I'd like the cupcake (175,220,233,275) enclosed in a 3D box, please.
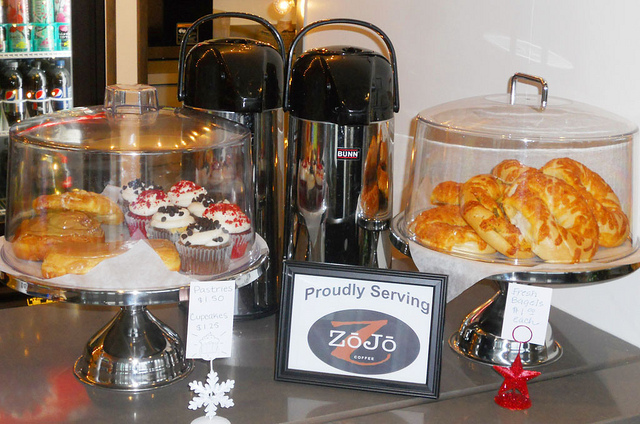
[{"bbox_3d":[-0.225,0.072,1.032,0.105,0.094,0.040,-4,15,-18],"label":"cupcake"}]

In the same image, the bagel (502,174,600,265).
[{"bbox_3d":[0.446,0.011,1.038,0.175,0.157,0.090,7,15,23],"label":"bagel"}]

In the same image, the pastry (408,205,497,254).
[{"bbox_3d":[0.288,0.036,1.132,0.205,0.061,0.201,6,22,19],"label":"pastry"}]

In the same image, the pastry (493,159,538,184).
[{"bbox_3d":[0.399,-0.089,1.122,0.056,0.031,0.072,-8,13,2],"label":"pastry"}]

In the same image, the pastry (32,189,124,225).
[{"bbox_3d":[-0.481,-0.011,1.059,0.171,0.053,0.155,-1,-13,-30],"label":"pastry"}]

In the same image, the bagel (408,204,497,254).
[{"bbox_3d":[0.264,0.028,1.097,0.137,0.099,0.128,-14,20,-29],"label":"bagel"}]

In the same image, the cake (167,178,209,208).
[{"bbox_3d":[-0.273,-0.040,1.073,0.059,0.034,0.059,4,9,8],"label":"cake"}]

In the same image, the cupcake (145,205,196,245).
[{"bbox_3d":[-0.291,0.021,1.040,0.079,0.066,0.070,-1,8,-38],"label":"cupcake"}]

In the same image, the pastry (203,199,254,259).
[{"bbox_3d":[-0.186,0.032,1.070,0.099,0.098,0.108,4,5,-10],"label":"pastry"}]

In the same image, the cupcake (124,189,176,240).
[{"bbox_3d":[-0.340,0.005,1.079,0.078,0.076,0.089,3,8,3],"label":"cupcake"}]

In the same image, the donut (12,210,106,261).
[{"bbox_3d":[-0.486,0.046,0.979,0.178,0.092,0.067,0,14,-1],"label":"donut"}]

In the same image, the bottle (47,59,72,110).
[{"bbox_3d":[-1.256,-0.601,2.574,0.103,0.194,0.043,-8,16,-30],"label":"bottle"}]

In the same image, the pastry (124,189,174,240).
[{"bbox_3d":[-0.338,0.007,1.063,0.094,0.096,0.080,12,7,-4],"label":"pastry"}]

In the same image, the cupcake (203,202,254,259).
[{"bbox_3d":[-0.201,0.031,1.110,0.121,0.117,0.132,-7,21,-24],"label":"cupcake"}]

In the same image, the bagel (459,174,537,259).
[{"bbox_3d":[0.345,0.000,1.042,0.137,0.150,0.113,8,21,22],"label":"bagel"}]

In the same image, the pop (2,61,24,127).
[{"bbox_3d":[-1.449,-0.558,2.514,0.096,0.303,0.107,-7,16,-28],"label":"pop"}]

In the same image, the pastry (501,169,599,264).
[{"bbox_3d":[0.461,-0.014,1.095,0.219,0.084,0.228,-21,50,-39],"label":"pastry"}]

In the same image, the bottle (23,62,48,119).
[{"bbox_3d":[-1.359,-0.596,2.568,0.098,0.248,0.144,-1,14,-6],"label":"bottle"}]

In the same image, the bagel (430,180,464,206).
[{"bbox_3d":[0.296,-0.045,1.196,0.083,0.048,0.090,5,10,38],"label":"bagel"}]

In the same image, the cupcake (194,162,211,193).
[{"bbox_3d":[-0.235,-0.071,1.069,0.033,0.061,0.018,-7,16,-27],"label":"cupcake"}]

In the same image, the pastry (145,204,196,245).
[{"bbox_3d":[-0.293,0.023,1.036,0.079,0.065,0.070,1,7,-27],"label":"pastry"}]

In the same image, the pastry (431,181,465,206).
[{"bbox_3d":[0.277,-0.041,1.159,0.057,0.030,0.055,3,9,20],"label":"pastry"}]
